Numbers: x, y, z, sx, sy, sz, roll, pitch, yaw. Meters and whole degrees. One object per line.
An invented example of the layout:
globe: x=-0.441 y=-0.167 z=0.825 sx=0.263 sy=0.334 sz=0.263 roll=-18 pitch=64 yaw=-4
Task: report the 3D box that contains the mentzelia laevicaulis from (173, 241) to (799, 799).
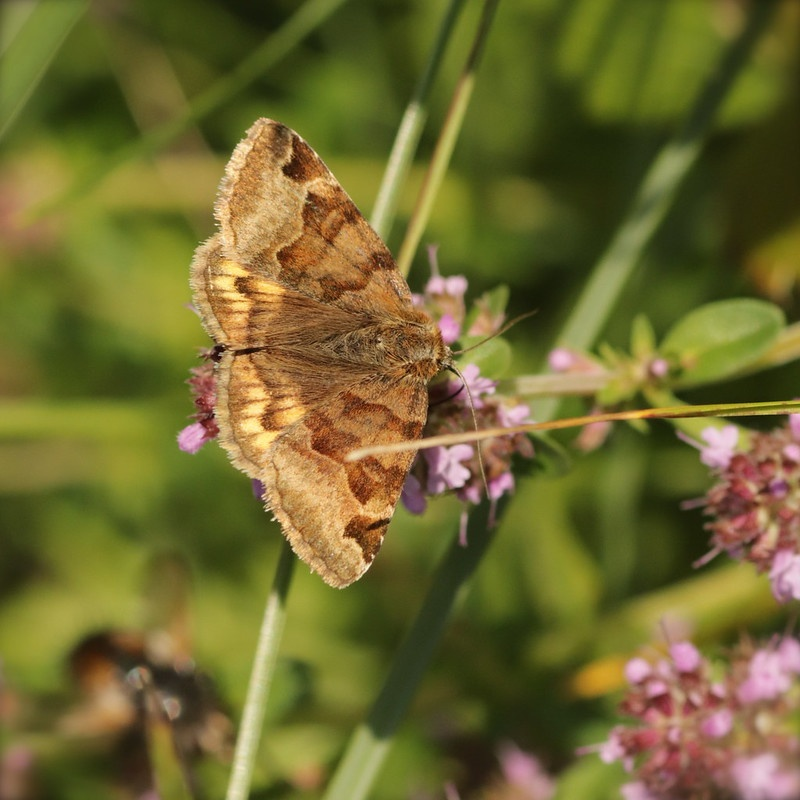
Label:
mentzelia laevicaulis: x=0.439 y=0.355 z=2.487 sx=1.528 sy=1.317 sz=0.496 roll=2 pitch=-55 yaw=7
